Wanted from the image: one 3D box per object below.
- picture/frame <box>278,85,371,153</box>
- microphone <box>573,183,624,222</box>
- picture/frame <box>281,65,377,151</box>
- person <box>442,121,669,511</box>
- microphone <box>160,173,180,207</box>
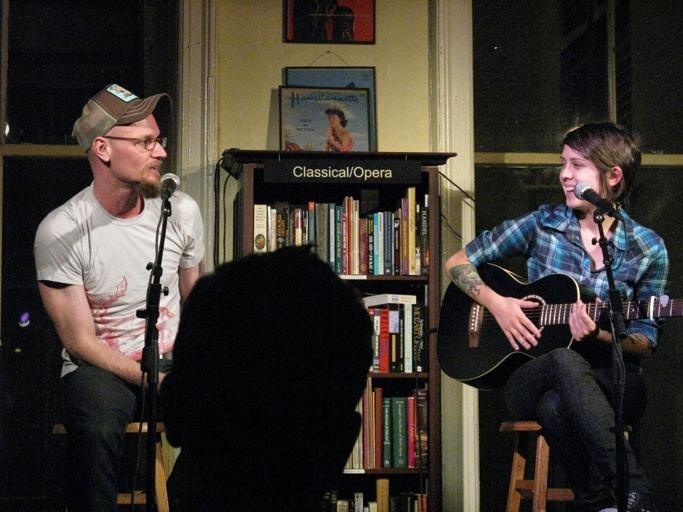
[{"bbox_3d":[-0.106,-0.726,4.618,0.369,0.296,0.041,0,-12,-3],"label":"picture/frame"},{"bbox_3d":[1.060,-0.234,3.634,0.084,0.092,0.286,-16,44,-26],"label":"microphone"},{"bbox_3d":[-0.080,-0.786,4.652,0.448,0.456,0.153,0,-2,1],"label":"picture/frame"},{"bbox_3d":[0.962,0.220,3.753,0.876,1.662,0.683,-1,-2,21],"label":"person"},{"bbox_3d":[-0.737,-0.284,3.678,0.068,0.141,0.164,0,-2,-11],"label":"microphone"}]
